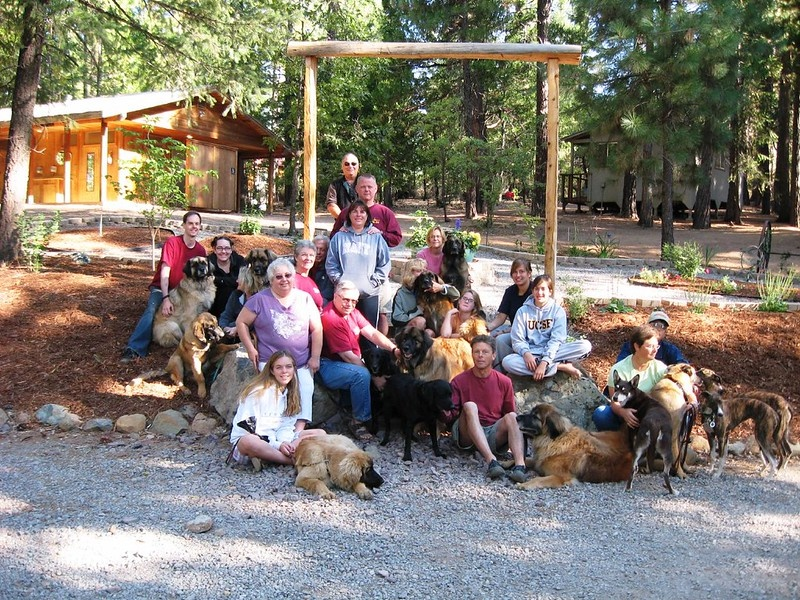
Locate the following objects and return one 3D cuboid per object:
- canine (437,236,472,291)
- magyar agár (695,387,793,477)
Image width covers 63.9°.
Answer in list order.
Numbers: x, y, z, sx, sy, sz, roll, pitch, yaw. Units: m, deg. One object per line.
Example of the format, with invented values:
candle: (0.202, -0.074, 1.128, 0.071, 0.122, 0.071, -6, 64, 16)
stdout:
canine: (0.763, -0.494, 8.776, 0.312, 0.664, 0.791, 0, -17, 4)
magyar agár: (3.784, 1.345, 7.173, 0.841, 0.925, 0.788, 2, 8, 16)
